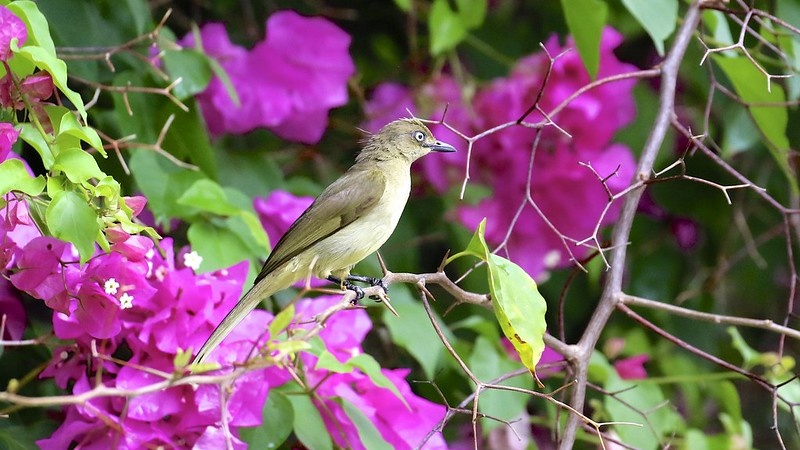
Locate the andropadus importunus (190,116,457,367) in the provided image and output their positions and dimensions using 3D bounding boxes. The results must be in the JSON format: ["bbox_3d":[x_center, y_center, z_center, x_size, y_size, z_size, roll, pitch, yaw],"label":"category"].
[{"bbox_3d":[-0.362,0.035,3.575,1.442,0.902,0.460,-11,-14,10],"label":"andropadus importunus"}]
